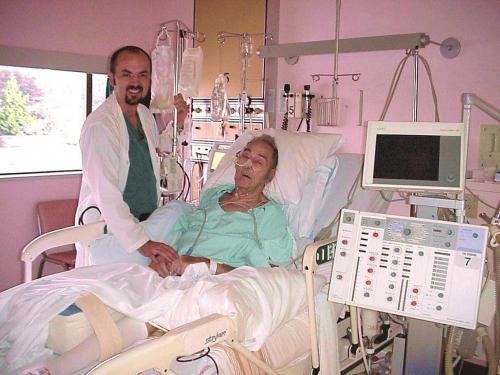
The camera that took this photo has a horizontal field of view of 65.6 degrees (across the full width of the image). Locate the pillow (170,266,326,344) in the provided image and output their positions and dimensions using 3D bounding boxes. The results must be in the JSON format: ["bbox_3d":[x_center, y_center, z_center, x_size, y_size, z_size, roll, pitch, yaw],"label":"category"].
[{"bbox_3d":[0.028,0.471,1.702,0.350,0.132,0.402,4,10,39],"label":"pillow"}]

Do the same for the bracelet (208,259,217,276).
[{"bbox_3d":[-0.192,0.408,1.985,0.043,0.040,0.056,-14,-4,-11],"label":"bracelet"}]

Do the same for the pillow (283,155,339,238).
[{"bbox_3d":[0.378,0.050,2.362,0.120,0.439,0.338,24,-5,-10],"label":"pillow"}]

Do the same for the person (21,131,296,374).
[{"bbox_3d":[-0.398,0.133,2.083,1.267,0.804,0.703,-16,25,-35],"label":"person"}]

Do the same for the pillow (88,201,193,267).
[{"bbox_3d":[-0.631,0.238,2.210,0.483,0.173,0.285,-24,4,-27],"label":"pillow"}]

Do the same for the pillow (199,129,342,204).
[{"bbox_3d":[0.102,-0.207,2.689,0.897,0.241,0.853,15,4,-24],"label":"pillow"}]
